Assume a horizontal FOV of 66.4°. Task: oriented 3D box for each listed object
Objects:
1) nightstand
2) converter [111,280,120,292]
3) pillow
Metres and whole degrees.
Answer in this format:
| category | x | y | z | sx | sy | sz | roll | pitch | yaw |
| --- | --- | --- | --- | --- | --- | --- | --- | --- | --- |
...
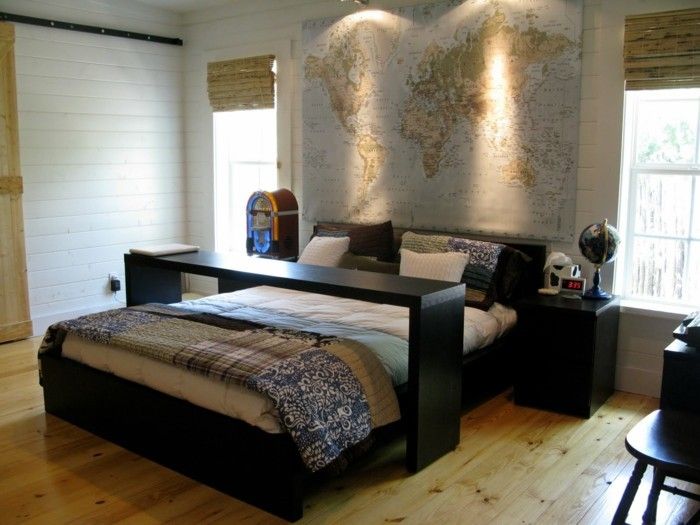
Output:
| category | x | y | z | sx | sy | sz | roll | pitch | yaw |
| --- | --- | --- | --- | --- | --- | --- | --- | --- | --- |
| nightstand | 1.547 | 0.601 | 4.087 | 0.832 | 0.979 | 0.846 | 7 | 14 | 34 |
| converter | -2.672 | 0.263 | 6.107 | 0.087 | 0.150 | 0.122 | -6 | 10 | -37 |
| pillow | 0.656 | -0.358 | 4.515 | 2.382 | 0.614 | 0.703 | 8 | 11 | 37 |
